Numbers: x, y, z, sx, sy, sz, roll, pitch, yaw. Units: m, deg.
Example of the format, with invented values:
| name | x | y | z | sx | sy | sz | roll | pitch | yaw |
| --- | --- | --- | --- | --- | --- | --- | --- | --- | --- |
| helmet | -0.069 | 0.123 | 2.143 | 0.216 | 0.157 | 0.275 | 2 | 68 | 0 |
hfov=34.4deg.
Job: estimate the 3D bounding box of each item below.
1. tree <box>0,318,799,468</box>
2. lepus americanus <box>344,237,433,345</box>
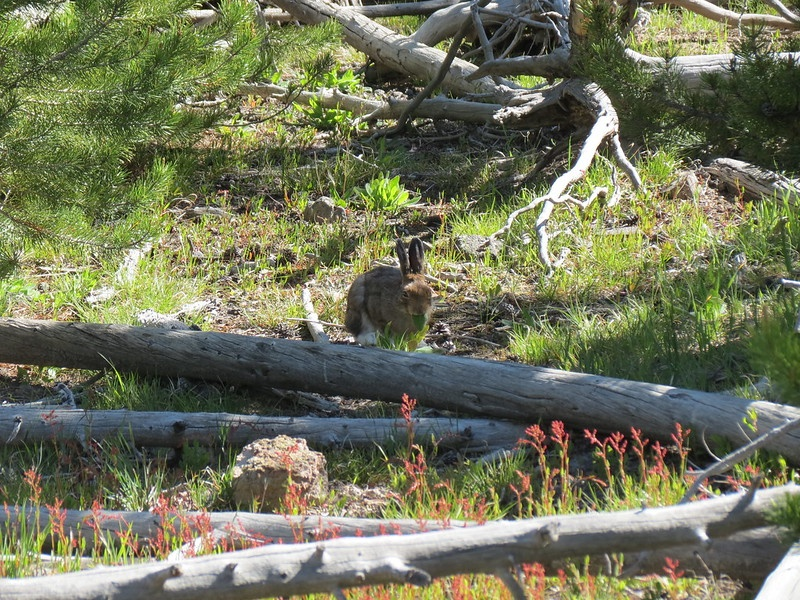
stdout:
| name | x | y | z | sx | sy | sz | roll | pitch | yaw |
| --- | --- | --- | --- | --- | --- | --- | --- | --- | --- |
| tree | -0.004 | 0.729 | 9.454 | 6.100 | 0.541 | 0.393 | 5 | 31 | 15 |
| lepus americanus | -0.094 | -0.072 | 11.120 | 0.600 | 1.014 | 0.886 | 1 | 8 | -38 |
